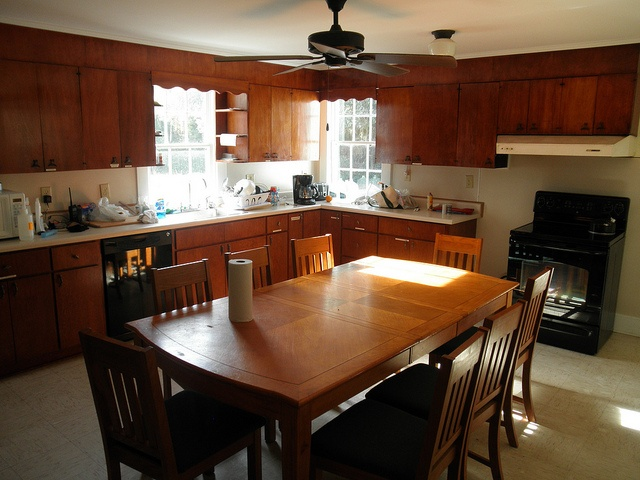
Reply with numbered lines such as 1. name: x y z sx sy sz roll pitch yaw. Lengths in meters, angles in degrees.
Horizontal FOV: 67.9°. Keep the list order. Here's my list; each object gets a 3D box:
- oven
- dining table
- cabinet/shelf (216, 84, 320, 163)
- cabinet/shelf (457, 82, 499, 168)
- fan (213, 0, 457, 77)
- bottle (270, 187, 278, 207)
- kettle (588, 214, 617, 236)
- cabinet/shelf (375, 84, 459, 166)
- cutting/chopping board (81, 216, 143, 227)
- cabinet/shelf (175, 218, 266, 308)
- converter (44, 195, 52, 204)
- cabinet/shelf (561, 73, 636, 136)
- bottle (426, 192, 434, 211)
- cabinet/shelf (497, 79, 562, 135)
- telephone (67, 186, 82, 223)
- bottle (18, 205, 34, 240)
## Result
1. oven: 2.323 0.460 4.609 0.836 1.108 0.728 11 14 38
2. dining table: -0.058 0.506 2.684 1.058 0.972 1.937 9 14 39
3. cabinet/shelf: -0.657 -1.367 5.514 0.339 0.578 0.965 5 9 36
4. cabinet/shelf: 1.801 -1.294 5.060 0.457 0.896 0.425 -11 17 3
5. fan: 0.311 -1.477 3.651 1.419 0.493 1.971 2 13 16
6. bottle: -0.557 -0.525 5.695 0.090 0.196 0.245 -3 12 -5
7. kettle: 2.638 -0.163 4.417 0.194 0.196 0.196 -7 13 -26
8. cabinet/shelf: 1.135 -1.334 5.483 0.959 0.861 0.389 4 15 21
9. cutting/chopping board: -1.915 -0.163 4.387 0.464 0.049 0.207 -9 15 -31
10. cabinet/shelf: -0.842 0.171 3.821 0.275 0.645 0.725 6 11 44
11. converter: -2.448 -0.368 4.262 0.030 0.058 0.059 12 15 27
12. cabinet/shelf: 2.544 -1.234 4.296 0.540 0.497 0.182 8 13 42
13. bottle: 1.275 -0.443 5.508 0.060 0.182 0.266 1 13 13
14. cabinet/shelf: 2.066 -1.309 4.627 0.540 0.489 0.178 7 10 36
15. telephone: -2.256 -0.321 4.362 0.112 0.305 0.196 -8 14 -27
16. bottle: -2.385 -0.136 3.832 0.108 0.263 0.158 -10 15 -34
